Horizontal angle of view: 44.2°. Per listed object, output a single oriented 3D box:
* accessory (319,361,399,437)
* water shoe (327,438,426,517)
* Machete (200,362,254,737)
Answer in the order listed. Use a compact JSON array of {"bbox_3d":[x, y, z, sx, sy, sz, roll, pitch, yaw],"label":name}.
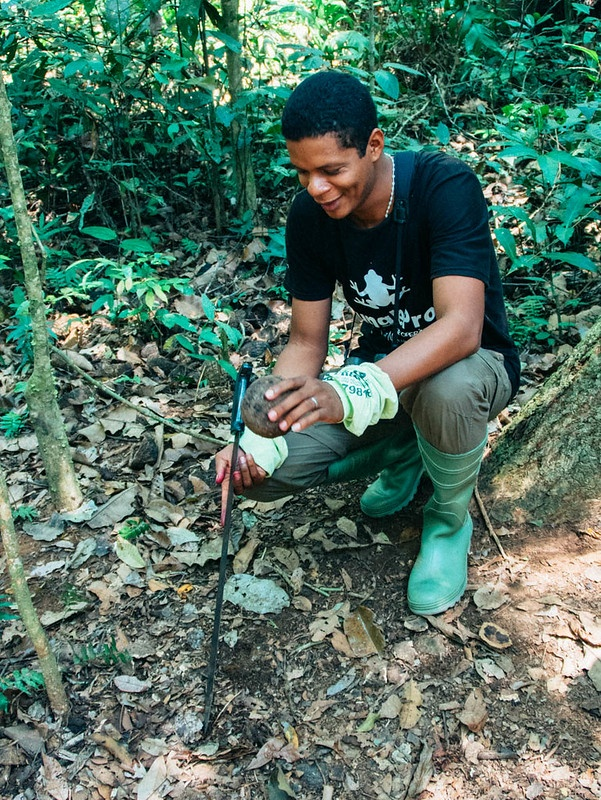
[{"bbox_3d":[0.147,-0.009,1.906,0.159,0.155,0.155,-15,21,-23],"label":"accessory"},{"bbox_3d":[0.260,0.251,2.423,0.432,0.173,0.204,-17,25,-41],"label":"water shoe"},{"bbox_3d":[-0.218,0.476,2.186,0.106,1.042,0.106,1,-19,26],"label":"Machete"}]
